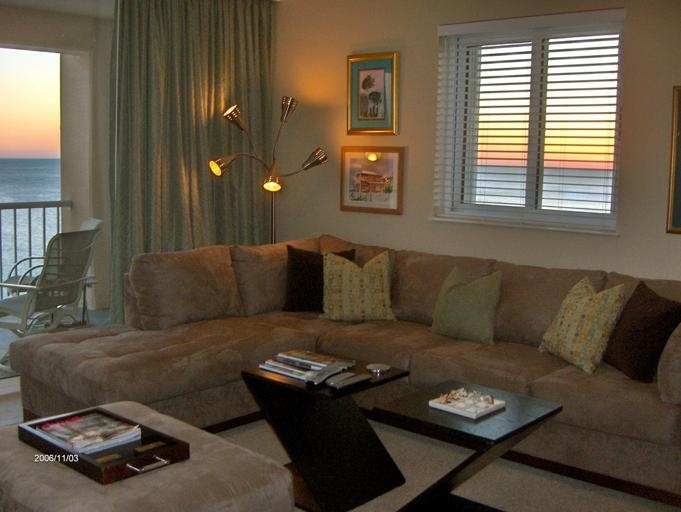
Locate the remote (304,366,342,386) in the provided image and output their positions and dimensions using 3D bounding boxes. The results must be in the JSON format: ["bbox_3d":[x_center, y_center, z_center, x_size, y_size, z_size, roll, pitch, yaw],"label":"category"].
[{"bbox_3d":[-0.081,0.555,2.557,0.056,0.022,0.239,15,11,20],"label":"remote"}]

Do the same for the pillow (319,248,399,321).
[{"bbox_3d":[0.130,0.221,4.061,0.560,0.519,0.203,-1,-7,1],"label":"pillow"}]

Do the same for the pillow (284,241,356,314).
[{"bbox_3d":[-0.166,0.184,4.069,0.536,0.497,0.191,3,-6,-7],"label":"pillow"}]

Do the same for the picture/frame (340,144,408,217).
[{"bbox_3d":[0.301,-0.649,4.604,0.640,0.576,0.072,5,4,34],"label":"picture/frame"}]

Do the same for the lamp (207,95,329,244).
[{"bbox_3d":[-0.652,-0.739,4.819,1.040,1.314,0.749,-1,9,-17],"label":"lamp"}]

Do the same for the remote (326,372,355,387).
[{"bbox_3d":[-0.003,0.562,2.515,0.101,0.023,0.049,-10,17,-44],"label":"remote"}]

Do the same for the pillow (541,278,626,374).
[{"bbox_3d":[1.373,0.402,3.062,0.145,0.454,0.450,23,6,-13],"label":"pillow"}]

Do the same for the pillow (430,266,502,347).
[{"bbox_3d":[0.839,0.324,3.664,0.305,0.449,0.506,-7,8,-39],"label":"pillow"}]
